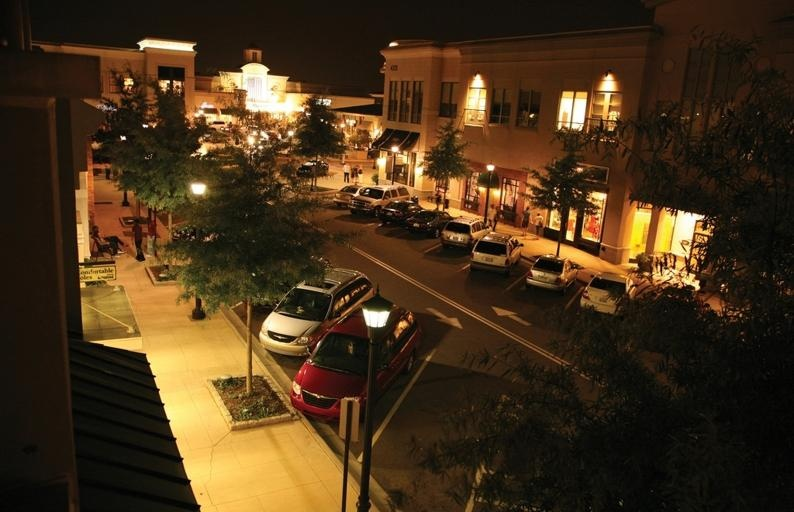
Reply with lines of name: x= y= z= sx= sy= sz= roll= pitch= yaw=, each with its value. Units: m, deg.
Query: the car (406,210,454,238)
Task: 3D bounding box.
car: x=2.008 y=-1.911 z=32.321 sx=1.179 sy=0.895 sz=2.626 roll=9 pitch=18 yaw=29

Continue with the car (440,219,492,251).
car: x=3.546 y=-1.214 z=29.414 sx=1.233 sy=1.075 sz=2.260 roll=9 pitch=20 yaw=33

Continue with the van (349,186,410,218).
van: x=-0.843 y=-3.417 z=36.385 sx=1.754 sy=1.357 sz=3.235 roll=10 pitch=15 yaw=42

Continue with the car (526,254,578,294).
car: x=6.312 y=0.789 z=23.504 sx=2.070 sy=1.381 sz=1.286 roll=-7 pitch=16 yaw=-40

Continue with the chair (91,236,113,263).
chair: x=-11.703 y=-0.252 z=23.219 sx=0.693 sy=0.946 sz=0.688 roll=-10 pitch=25 yaw=-31

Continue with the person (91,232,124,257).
person: x=-12.052 y=-0.449 z=24.321 sx=0.751 sy=0.434 sz=0.965 roll=-17 pitch=-2 yaw=-32

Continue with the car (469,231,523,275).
car: x=4.384 y=-0.011 z=25.769 sx=1.548 sy=1.518 sz=1.965 roll=9 pitch=14 yaw=26

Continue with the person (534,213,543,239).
person: x=8.223 y=-1.735 z=33.690 sx=0.502 sy=1.320 sz=1.450 roll=6 pitch=13 yaw=14

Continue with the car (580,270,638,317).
car: x=5.361 y=0.933 z=14.917 sx=1.013 sy=0.748 sz=2.219 roll=11 pitch=21 yaw=30

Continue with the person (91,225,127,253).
person: x=-12.447 y=-0.701 z=25.294 sx=1.011 sy=1.216 sz=0.475 roll=-22 pitch=51 yaw=-31

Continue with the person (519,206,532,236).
person: x=7.582 y=-2.025 z=33.942 sx=0.511 sy=1.646 sz=1.503 roll=6 pitch=13 yaw=13

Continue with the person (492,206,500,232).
person: x=5.981 y=-2.200 z=35.044 sx=0.531 sy=0.595 sz=1.699 roll=17 pitch=-26 yaw=12

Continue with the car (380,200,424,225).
car: x=0.488 y=-2.549 z=34.268 sx=1.195 sy=1.098 sz=2.295 roll=13 pitch=26 yaw=35
